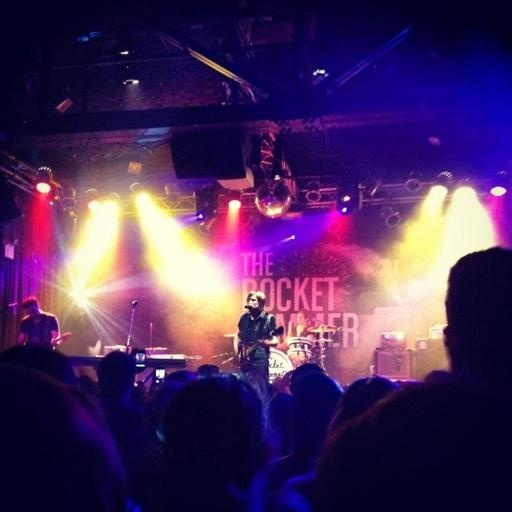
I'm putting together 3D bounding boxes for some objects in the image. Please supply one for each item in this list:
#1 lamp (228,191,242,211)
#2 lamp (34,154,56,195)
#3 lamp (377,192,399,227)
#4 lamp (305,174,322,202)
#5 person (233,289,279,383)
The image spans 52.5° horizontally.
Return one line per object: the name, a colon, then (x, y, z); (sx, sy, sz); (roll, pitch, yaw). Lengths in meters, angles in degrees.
lamp: (-0.336, -0.880, 8.272); (0.201, 0.373, 0.221); (-1, 13, -9)
lamp: (-2.889, -1.107, 7.223); (0.291, 0.561, 0.774); (8, -11, -21)
lamp: (2.188, -0.773, 8.581); (0.329, 0.392, 0.938); (-1, 25, 5)
lamp: (0.832, -0.984, 7.601); (0.199, 0.389, 0.466); (4, -11, 2)
person: (-0.056, 1.182, 6.675); (0.514, 1.487, 0.323); (5, 24, 0)
